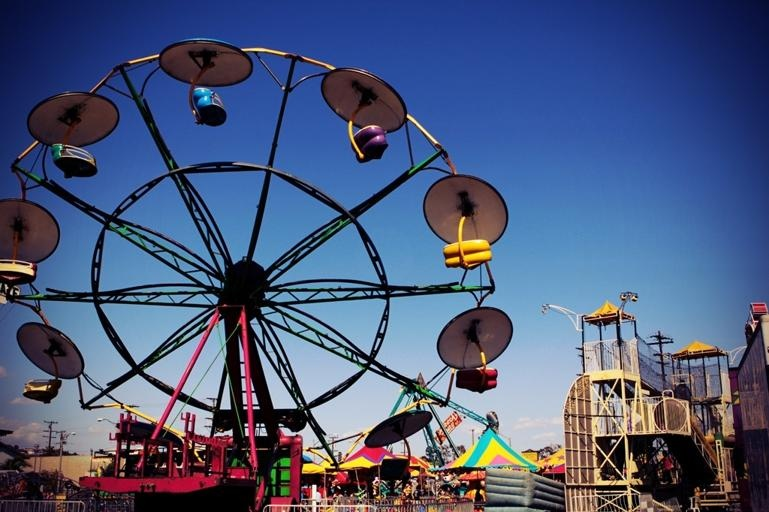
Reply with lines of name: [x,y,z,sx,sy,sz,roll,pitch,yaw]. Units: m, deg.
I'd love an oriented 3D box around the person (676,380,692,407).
person: [22.954,10.429,58.473,0.637,1.429,1.547,8,-21,-17]
